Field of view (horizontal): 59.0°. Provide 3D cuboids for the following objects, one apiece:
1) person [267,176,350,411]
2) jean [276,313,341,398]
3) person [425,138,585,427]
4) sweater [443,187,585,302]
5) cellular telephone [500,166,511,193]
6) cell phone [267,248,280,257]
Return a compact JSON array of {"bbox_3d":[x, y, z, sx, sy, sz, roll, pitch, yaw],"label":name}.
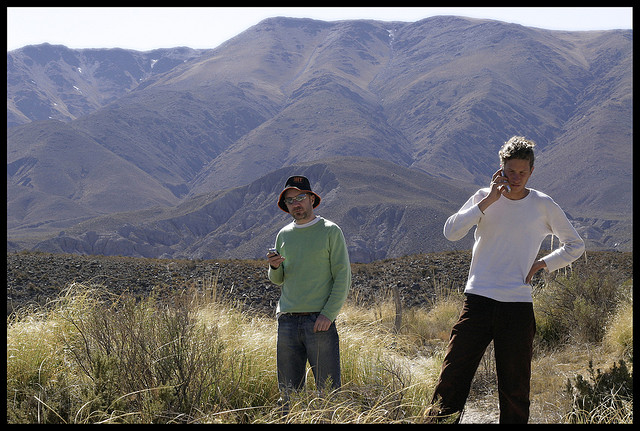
[{"bbox_3d":[-0.120,0.788,5.974,0.870,2.462,0.513,2,-7,2],"label":"person"},{"bbox_3d":[-0.145,1.556,6.069,0.640,1.322,0.437,5,16,17],"label":"jean"},{"bbox_3d":[1.861,0.659,5.773,1.440,2.957,0.448,1,-7,9],"label":"person"},{"bbox_3d":[1.994,0.299,5.861,1.518,1.123,0.579,8,-2,6],"label":"sweater"},{"bbox_3d":[1.900,-0.362,5.800,0.061,0.272,0.071,-16,2,-7],"label":"cellular telephone"},{"bbox_3d":[-0.505,0.379,5.993,0.091,0.085,0.024,6,-50,-41],"label":"cell phone"}]
